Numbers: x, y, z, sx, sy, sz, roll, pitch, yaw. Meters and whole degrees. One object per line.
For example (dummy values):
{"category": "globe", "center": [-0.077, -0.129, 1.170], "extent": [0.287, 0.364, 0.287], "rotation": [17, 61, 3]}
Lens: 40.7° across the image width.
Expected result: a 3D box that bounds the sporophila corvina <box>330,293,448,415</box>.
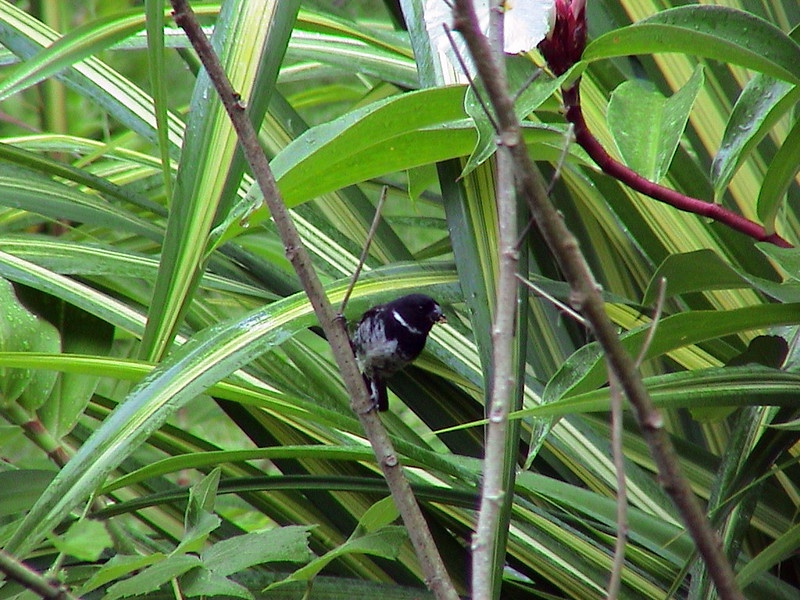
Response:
{"category": "sporophila corvina", "center": [-0.038, 0.053, 1.710], "extent": [0.291, 0.168, 0.095], "rotation": [16, 17, 42]}
